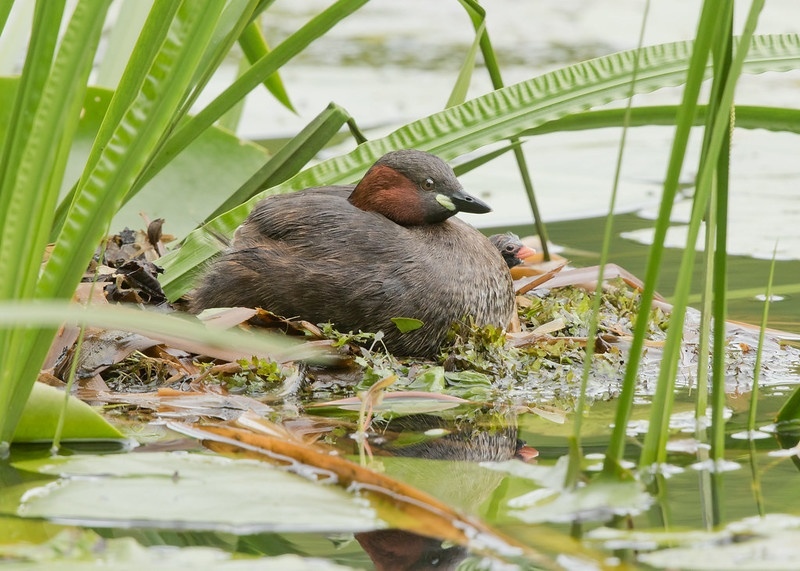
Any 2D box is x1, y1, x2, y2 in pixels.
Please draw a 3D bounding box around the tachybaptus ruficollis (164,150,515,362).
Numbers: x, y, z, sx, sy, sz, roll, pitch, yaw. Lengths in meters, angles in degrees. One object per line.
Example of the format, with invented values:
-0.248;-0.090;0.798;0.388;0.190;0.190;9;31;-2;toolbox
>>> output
-0.112;-0.136;2.852;0.892;0.684;0.739;-8;15;-37;tachybaptus ruficollis
